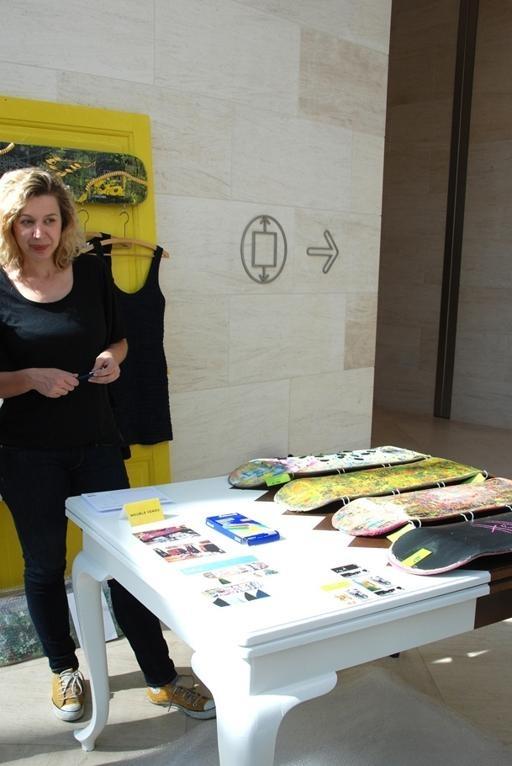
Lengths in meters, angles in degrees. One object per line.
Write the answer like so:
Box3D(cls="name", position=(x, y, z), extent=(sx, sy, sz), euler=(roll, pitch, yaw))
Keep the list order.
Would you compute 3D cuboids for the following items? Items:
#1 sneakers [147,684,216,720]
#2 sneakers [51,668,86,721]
Box3D(cls="sneakers", position=(-0.226, 0.943, 1.923), extent=(0.213, 0.075, 0.087), euler=(0, 0, 24))
Box3D(cls="sneakers", position=(-0.576, 0.925, 1.922), extent=(0.088, 0.077, 0.229), euler=(0, 6, -24))
